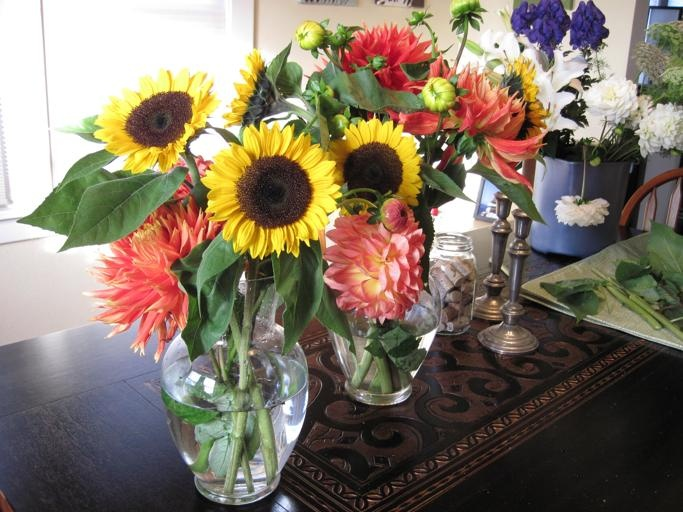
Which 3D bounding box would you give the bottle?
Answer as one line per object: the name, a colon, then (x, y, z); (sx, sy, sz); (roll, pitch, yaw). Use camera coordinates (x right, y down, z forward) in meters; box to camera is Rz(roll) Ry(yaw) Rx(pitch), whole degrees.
bottle: (0.231, 0.072, 1.023); (0.121, 0.202, 0.122); (6, -10, 1)
